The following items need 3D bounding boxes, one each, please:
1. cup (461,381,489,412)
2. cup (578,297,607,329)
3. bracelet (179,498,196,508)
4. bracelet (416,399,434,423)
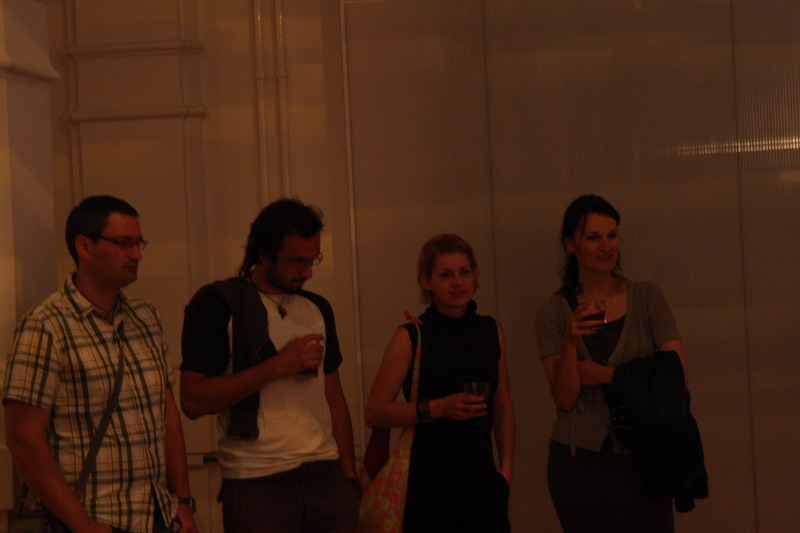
[{"bbox_3d":[0.390,0.683,4.447,0.128,0.157,0.131,-1,-4,0],"label":"cup"},{"bbox_3d":[1.110,0.270,4.896,0.114,0.137,0.152,0,-7,-3],"label":"cup"},{"bbox_3d":[-1.131,1.253,4.527,0.053,0.056,0.075,17,-6,16],"label":"bracelet"},{"bbox_3d":[0.132,0.767,4.511,0.040,0.111,0.081,1,11,-22],"label":"bracelet"}]
